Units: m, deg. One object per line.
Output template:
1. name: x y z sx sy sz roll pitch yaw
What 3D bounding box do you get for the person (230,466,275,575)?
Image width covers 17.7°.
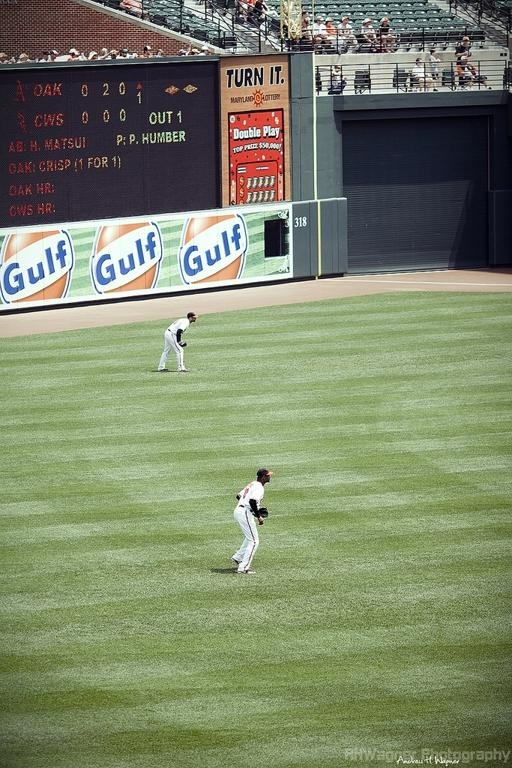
1. person: -0.038 1.309 15.598 0.360 1.073 0.896 -1 8 -1

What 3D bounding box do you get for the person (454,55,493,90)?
1. person: 5.304 -7.644 40.158 0.791 0.824 2.082 0 8 8

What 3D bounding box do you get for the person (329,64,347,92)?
1. person: 1.923 -7.177 38.713 0.411 0.725 1.126 -1 8 3

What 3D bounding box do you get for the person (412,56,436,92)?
1. person: 4.076 -7.422 39.458 0.377 0.805 0.731 -10 20 -19
